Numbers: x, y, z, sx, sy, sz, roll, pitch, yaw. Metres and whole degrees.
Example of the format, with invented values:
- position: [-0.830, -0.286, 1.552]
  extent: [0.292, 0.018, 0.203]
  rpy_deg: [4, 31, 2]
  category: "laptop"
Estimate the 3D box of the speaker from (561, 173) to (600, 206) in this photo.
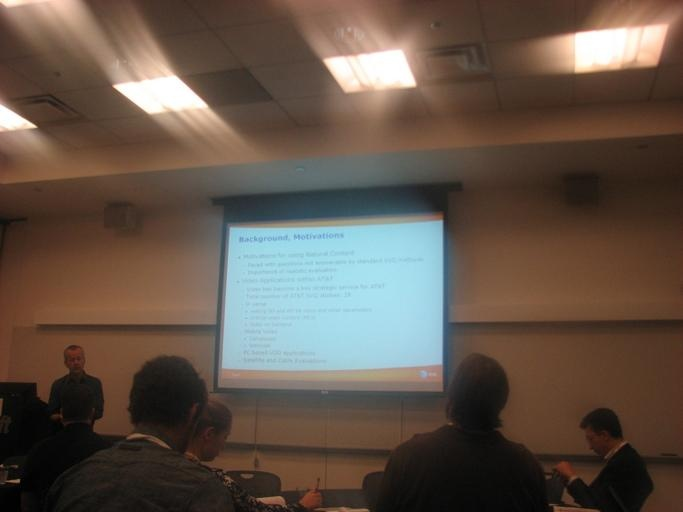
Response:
- position: [2.179, -0.605, 5.095]
  extent: [0.310, 0.292, 0.077]
  rpy_deg: [1, 15, 27]
  category: "speaker"
